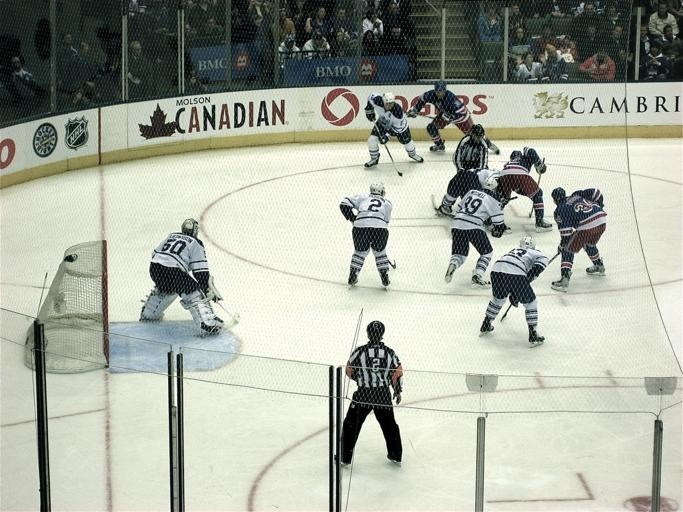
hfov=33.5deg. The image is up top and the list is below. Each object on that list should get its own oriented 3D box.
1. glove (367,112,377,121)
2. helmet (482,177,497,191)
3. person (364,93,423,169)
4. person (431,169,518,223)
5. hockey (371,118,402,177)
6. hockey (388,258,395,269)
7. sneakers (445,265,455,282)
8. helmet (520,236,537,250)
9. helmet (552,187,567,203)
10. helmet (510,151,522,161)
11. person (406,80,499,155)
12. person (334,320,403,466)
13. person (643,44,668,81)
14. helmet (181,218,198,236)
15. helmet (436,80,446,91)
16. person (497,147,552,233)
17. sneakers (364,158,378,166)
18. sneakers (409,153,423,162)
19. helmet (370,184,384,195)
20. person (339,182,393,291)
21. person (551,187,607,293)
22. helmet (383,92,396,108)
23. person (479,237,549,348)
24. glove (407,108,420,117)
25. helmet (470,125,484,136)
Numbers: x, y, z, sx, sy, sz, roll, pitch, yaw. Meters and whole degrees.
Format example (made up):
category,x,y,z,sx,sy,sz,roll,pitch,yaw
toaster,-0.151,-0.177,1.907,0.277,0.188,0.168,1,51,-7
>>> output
category,x,y,z,sx,sy,sz,roll,pitch,yaw
glove,0.449,-2.070,16.603,0.123,0.125,0.094,-39,55,-22
helmet,1.755,-0.827,13.281,0.134,0.174,0.171,18,-1,23
person,0.712,-1.864,16.815,0.705,1.091,0.820,5,10,32
person,1.735,-0.774,13.972,1.096,0.638,0.369,1,-3,22
hockey,0.686,-1.609,16.878,0.117,1.077,0.079,-33,-2,13
hockey,0.615,0.083,13.286,0.030,0.101,0.095,-9,-6,-38
sneakers,1.217,0.187,12.512,0.072,0.219,0.086,15,9,5
helmet,1.933,-0.132,11.607,0.115,0.146,0.150,16,21,22
helmet,2.485,-0.684,12.833,0.151,0.197,0.200,-1,2,5
helmet,2.204,-1.256,14.130,0.133,0.105,0.193,1,9,8
person,1.756,-2.117,17.171,1.542,1.234,0.565,-5,14,-19
person,0.251,1.139,9.074,0.484,1.062,1.112,0,9,2
person,4.975,-2.891,17.783,0.437,0.858,0.299,2,13,21
helmet,-1.549,-0.295,11.673,0.150,0.195,0.190,6,2,3
helmet,1.491,-2.504,16.749,0.159,0.118,0.162,1,9,-7
person,2.303,-0.842,14.253,0.725,1.098,0.723,-1,-9,26
sneakers,0.454,-1.401,16.867,0.183,0.078,0.103,-5,24,-4
sneakers,1.148,-1.465,16.972,0.259,0.089,0.103,15,-32,-30
helmet,0.423,-0.728,12.841,0.113,0.141,0.136,5,37,4
person,0.288,-0.215,12.664,0.563,1.116,0.634,0,9,2
person,2.700,-0.209,12.791,0.713,1.091,0.474,-3,9,-13
helmet,0.709,-2.308,16.425,0.181,0.210,0.195,-1,-26,-4
person,1.768,0.345,11.497,0.666,1.016,0.530,1,9,8
glove,1.106,-2.174,17.132,0.138,0.189,0.074,0,21,8
helmet,1.753,-1.586,14.431,0.172,0.156,0.302,0,9,4
